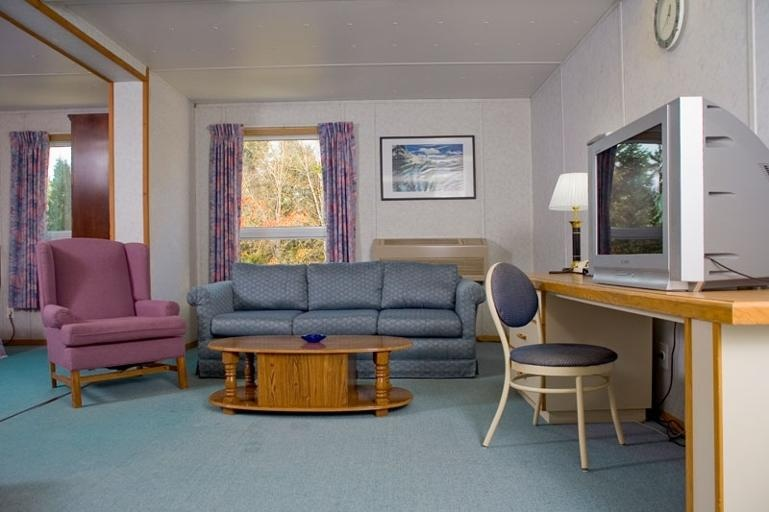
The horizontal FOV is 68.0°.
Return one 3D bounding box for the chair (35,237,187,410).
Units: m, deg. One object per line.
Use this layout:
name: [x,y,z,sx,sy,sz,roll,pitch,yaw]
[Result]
chair: [-2.291,0.497,4.781,0.977,1.264,1.052,-8,13,-32]
